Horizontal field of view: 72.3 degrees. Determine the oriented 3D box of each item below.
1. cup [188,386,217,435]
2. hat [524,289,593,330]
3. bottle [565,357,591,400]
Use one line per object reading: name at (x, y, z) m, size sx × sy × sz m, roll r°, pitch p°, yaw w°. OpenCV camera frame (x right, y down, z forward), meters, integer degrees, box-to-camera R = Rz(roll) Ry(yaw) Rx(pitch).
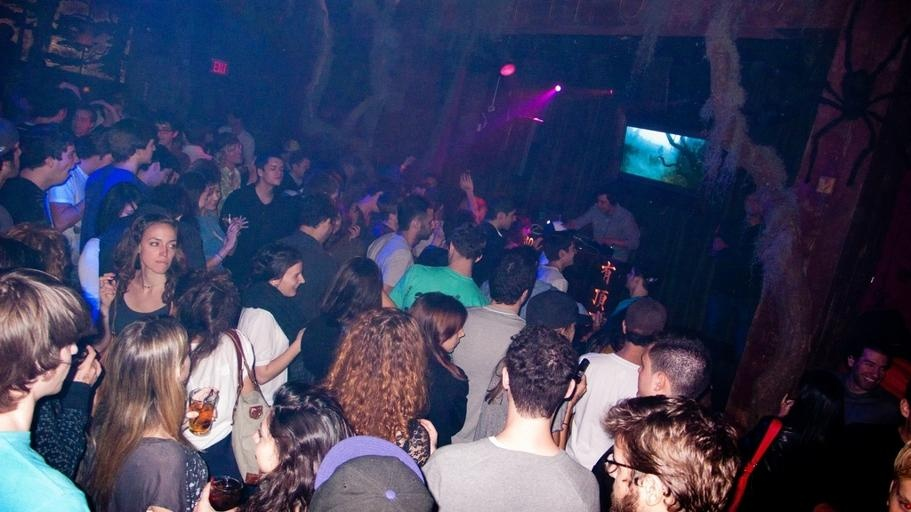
cup at (-2.465, 1.512, 6.059) m, size 0.249 × 0.476 × 0.141 m, roll 6°, pitch 5°, yaw -23°
hat at (1.153, 0.586, 6.927) m, size 0.584 × 0.227 × 0.431 m, roll 0°, pitch 6°, yaw -36°
bottle at (1.188, 1.201, 6.101) m, size 0.094 × 0.388 × 0.405 m, roll 35°, pitch -10°, yaw 6°
